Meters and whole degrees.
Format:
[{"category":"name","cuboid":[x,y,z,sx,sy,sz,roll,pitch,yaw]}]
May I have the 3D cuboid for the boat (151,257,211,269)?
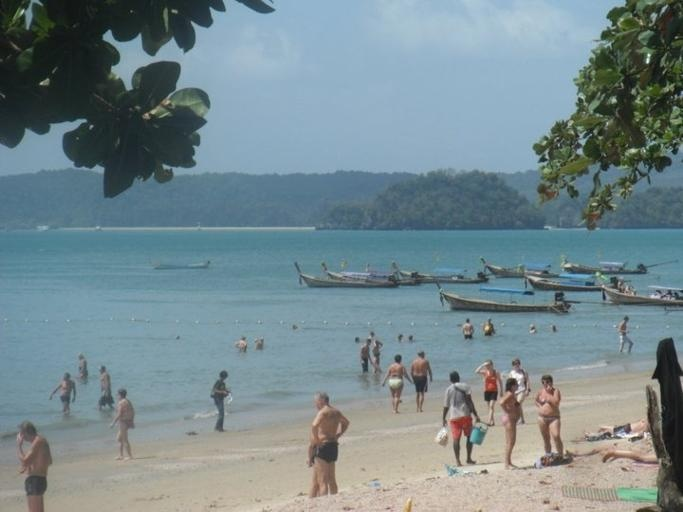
[{"category":"boat","cuboid":[-21.248,0.948,145.650,7.136,1.148,1.448,-1,8,4]}]
